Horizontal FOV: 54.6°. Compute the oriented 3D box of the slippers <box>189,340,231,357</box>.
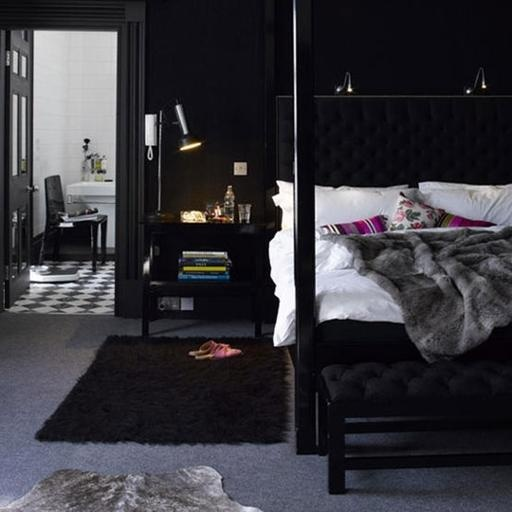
[{"bbox_3d":[-0.320,0.597,3.155,0.159,0.048,0.115,-9,2,-27],"label":"slippers"}]

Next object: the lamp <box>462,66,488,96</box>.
[{"bbox_3d":[1.749,-1.395,3.937,0.225,0.234,0.123,1,0,5],"label":"lamp"}]

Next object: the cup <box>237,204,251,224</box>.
[{"bbox_3d":[-0.086,-0.319,3.799,0.140,0.182,0.141,0,3,0],"label":"cup"}]

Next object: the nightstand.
[{"bbox_3d":[-0.461,0.122,3.971,0.941,0.891,0.738,3,5,-19],"label":"nightstand"}]

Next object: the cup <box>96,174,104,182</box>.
[{"bbox_3d":[-2.198,-1.094,6.946,0.111,0.110,0.107,-1,-7,0],"label":"cup"}]

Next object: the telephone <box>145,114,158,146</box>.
[{"bbox_3d":[-0.811,-0.964,3.816,0.084,0.229,0.101,-1,6,-12],"label":"telephone"}]

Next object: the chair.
[{"bbox_3d":[-2.265,-0.435,6.118,0.798,1.135,1.326,-1,6,-17],"label":"chair"}]

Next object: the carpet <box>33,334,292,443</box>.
[{"bbox_3d":[-0.417,0.677,2.731,1.212,0.027,1.461,0,6,0],"label":"carpet"}]

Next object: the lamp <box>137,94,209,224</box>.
[{"bbox_3d":[-0.648,-0.746,3.778,0.427,0.851,0.470,-1,6,-9],"label":"lamp"}]

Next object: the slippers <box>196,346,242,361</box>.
[{"bbox_3d":[-0.230,0.589,3.124,0.229,0.069,0.103,-5,3,-13],"label":"slippers"}]

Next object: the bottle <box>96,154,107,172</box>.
[{"bbox_3d":[-2.205,-1.303,7.015,0.140,0.255,0.144,0,6,0],"label":"bottle"}]
